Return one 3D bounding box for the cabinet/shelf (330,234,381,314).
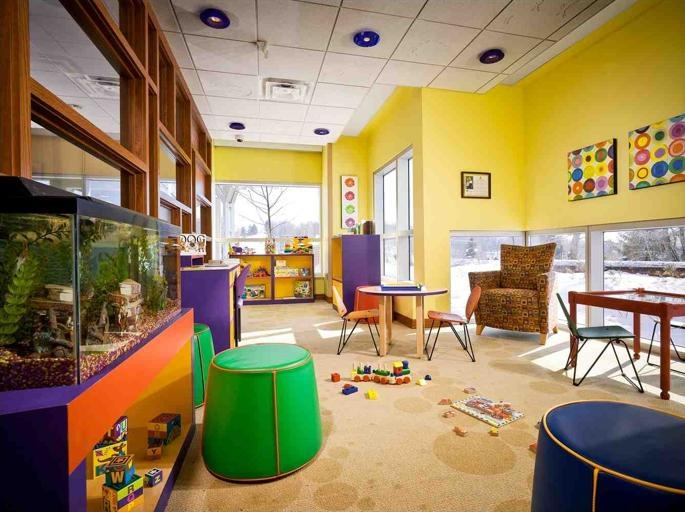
[{"bbox_3d":[0.191,0.238,6.253,0.476,1.060,1.233,-1,2,-6],"label":"cabinet/shelf"}]

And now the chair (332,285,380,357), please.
[{"bbox_3d":[0.148,0.708,5.432,0.685,0.915,0.605,-3,-4,33],"label":"chair"}]

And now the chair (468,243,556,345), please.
[{"bbox_3d":[2.034,0.423,5.416,0.976,1.152,0.788,8,15,41],"label":"chair"}]

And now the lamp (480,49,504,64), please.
[{"bbox_3d":[1.458,-1.970,4.511,0.243,0.086,0.278,4,12,25],"label":"lamp"}]

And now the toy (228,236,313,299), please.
[{"bbox_3d":[-1.251,0.226,8.036,1.214,0.798,0.377,0,-2,-15],"label":"toy"}]

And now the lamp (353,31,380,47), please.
[{"bbox_3d":[0.213,-1.996,4.202,0.240,0.082,0.264,-1,10,2],"label":"lamp"}]

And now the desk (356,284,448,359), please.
[{"bbox_3d":[0.595,0.667,4.780,0.808,0.589,0.822,-5,-9,36],"label":"desk"}]

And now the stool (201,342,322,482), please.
[{"bbox_3d":[-0.546,0.933,2.974,0.712,0.574,0.694,-1,-1,-16],"label":"stool"}]

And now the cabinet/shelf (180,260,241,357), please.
[{"bbox_3d":[-1.090,0.423,3.738,0.264,0.493,0.870,0,-1,-2],"label":"cabinet/shelf"}]

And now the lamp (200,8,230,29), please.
[{"bbox_3d":[-1.096,-2.041,3.928,0.245,0.093,0.269,-3,11,-6],"label":"lamp"}]
